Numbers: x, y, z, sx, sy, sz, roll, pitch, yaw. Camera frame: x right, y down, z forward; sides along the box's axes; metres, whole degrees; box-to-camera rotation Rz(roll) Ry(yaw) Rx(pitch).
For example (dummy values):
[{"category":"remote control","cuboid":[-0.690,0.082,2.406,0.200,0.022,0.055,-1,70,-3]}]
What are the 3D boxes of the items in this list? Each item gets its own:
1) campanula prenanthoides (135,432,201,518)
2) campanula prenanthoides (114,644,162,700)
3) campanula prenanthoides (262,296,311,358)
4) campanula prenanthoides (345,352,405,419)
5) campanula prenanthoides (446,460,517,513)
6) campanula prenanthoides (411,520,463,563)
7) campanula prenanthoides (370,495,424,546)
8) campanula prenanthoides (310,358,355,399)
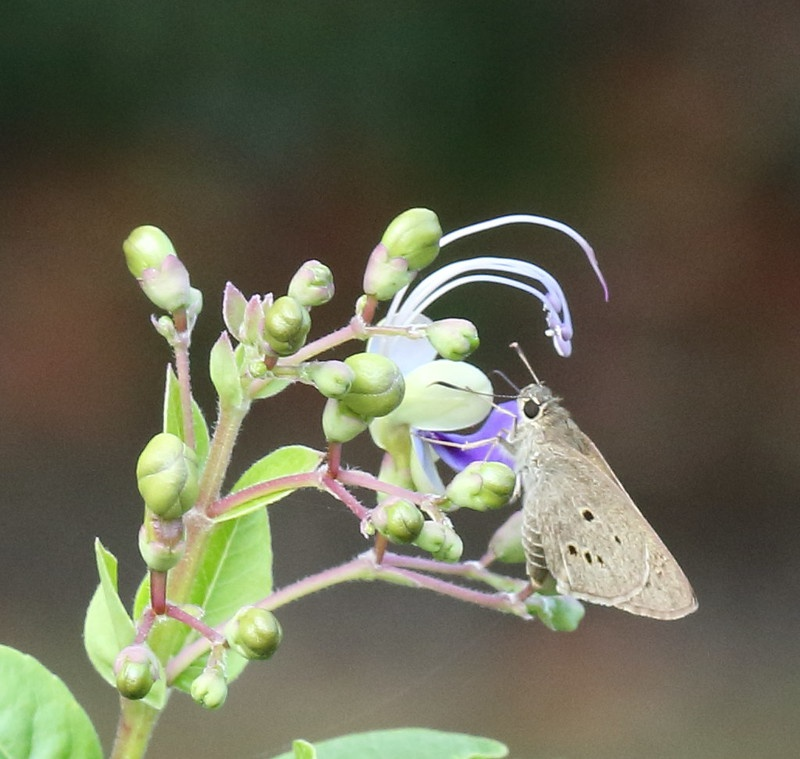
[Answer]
[{"category":"campanula prenanthoides","cuboid":[-0.444,0.181,2.159,0.113,0.166,0.101,-4,-4,-13]},{"category":"campanula prenanthoides","cuboid":[-0.529,0.567,2.228,0.094,0.115,0.121,10,-15,-42]},{"category":"campanula prenanthoides","cuboid":[-0.229,-0.111,2.293,0.100,0.117,0.152,-5,-4,7]},{"category":"campanula prenanthoides","cuboid":[-0.070,0.005,2.327,0.118,0.120,0.095,-13,-36,-44]},{"category":"campanula prenanthoides","cuboid":[0.181,0.217,2.453,0.123,0.099,0.094,-12,5,-3]},{"category":"campanula prenanthoides","cuboid":[0.085,0.346,2.443,0.096,0.105,0.224,-5,-4,5]},{"category":"campanula prenanthoides","cuboid":[0.000,0.282,2.356,0.098,0.082,0.086,26,-42,-15]},{"category":"campanula prenanthoides","cuboid":[-0.138,-0.003,2.265,0.085,0.076,0.052,-7,-4,27]}]
